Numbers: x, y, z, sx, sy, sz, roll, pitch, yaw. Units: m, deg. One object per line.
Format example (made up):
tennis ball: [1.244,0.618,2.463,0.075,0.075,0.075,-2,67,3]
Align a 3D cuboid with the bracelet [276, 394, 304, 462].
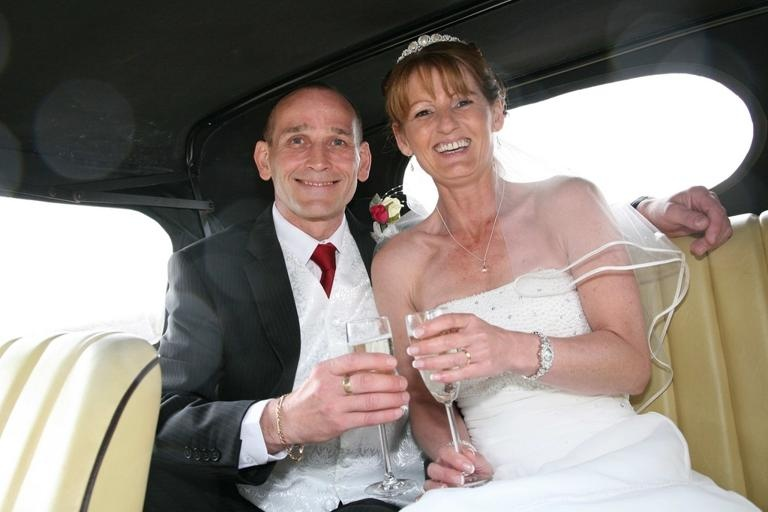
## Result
bracelet: [-0.537,0.930,3.506,0.088,0.321,0.235,11,16,43]

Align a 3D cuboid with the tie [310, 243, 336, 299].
tie: [-0.376,0.079,4.185,0.130,0.358,0.050,-5,-30,1]
